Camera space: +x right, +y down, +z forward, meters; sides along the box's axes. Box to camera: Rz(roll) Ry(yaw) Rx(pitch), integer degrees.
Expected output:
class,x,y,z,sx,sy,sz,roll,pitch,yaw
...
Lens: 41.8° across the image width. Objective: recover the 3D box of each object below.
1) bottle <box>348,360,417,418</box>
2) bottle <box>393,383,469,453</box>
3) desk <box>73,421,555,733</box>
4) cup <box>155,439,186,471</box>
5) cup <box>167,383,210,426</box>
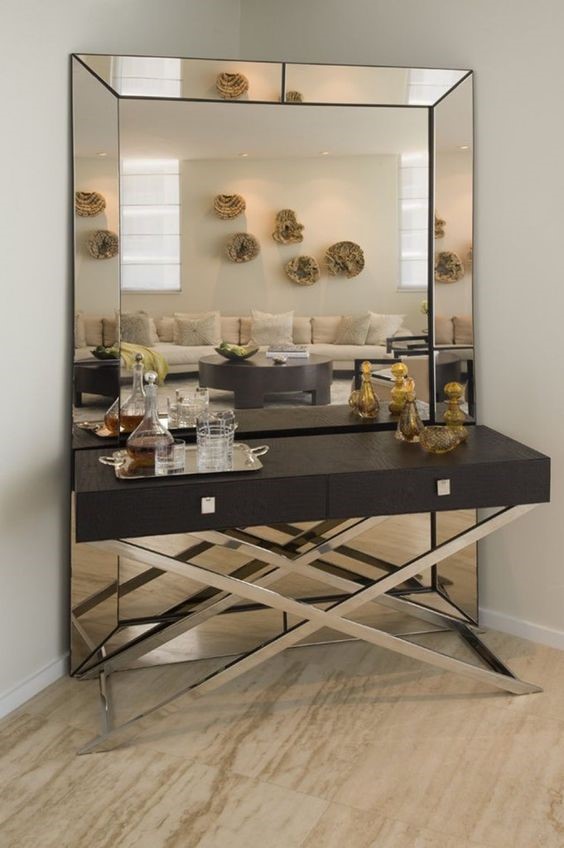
class,x,y,z,sx,sy,sz,roll,pitch,yaw
bottle,0.334,-0.121,2.484,0.200,0.183,0.081,0,2,-11
bottle,0.460,-0.021,2.248,0.219,0.198,0.216,0,2,-2
desk,0.052,0.409,2.298,1.421,0.836,0.655,-3,11,-13
cup,-0.294,0.087,1.988,0.081,0.075,0.068,0,7,3
cup,-0.308,-0.056,2.489,0.159,0.150,0.099,0,6,-4
